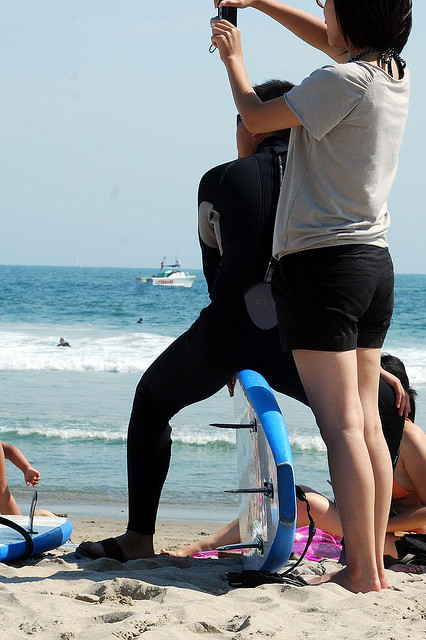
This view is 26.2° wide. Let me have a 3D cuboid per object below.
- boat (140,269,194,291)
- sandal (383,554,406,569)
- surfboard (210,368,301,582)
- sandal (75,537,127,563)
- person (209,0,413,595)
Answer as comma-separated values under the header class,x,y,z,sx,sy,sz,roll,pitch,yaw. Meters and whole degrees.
class,x,y,z,sx,sy,sz,roll,pitch,yaw
boat,-2.383,-2.175,50.921,3.932,1.535,1.285,-1,5,22
sandal,0.690,0.919,3.531,0.072,0.026,0.135,4,7,3
surfboard,0.145,0.485,2.587,0.155,0.546,0.567,-4,18,4
sandal,-0.405,0.808,3.252,0.188,0.062,0.072,20,-5,-13
person,0.296,-0.074,2.634,0.538,1.661,0.404,4,7,-1
